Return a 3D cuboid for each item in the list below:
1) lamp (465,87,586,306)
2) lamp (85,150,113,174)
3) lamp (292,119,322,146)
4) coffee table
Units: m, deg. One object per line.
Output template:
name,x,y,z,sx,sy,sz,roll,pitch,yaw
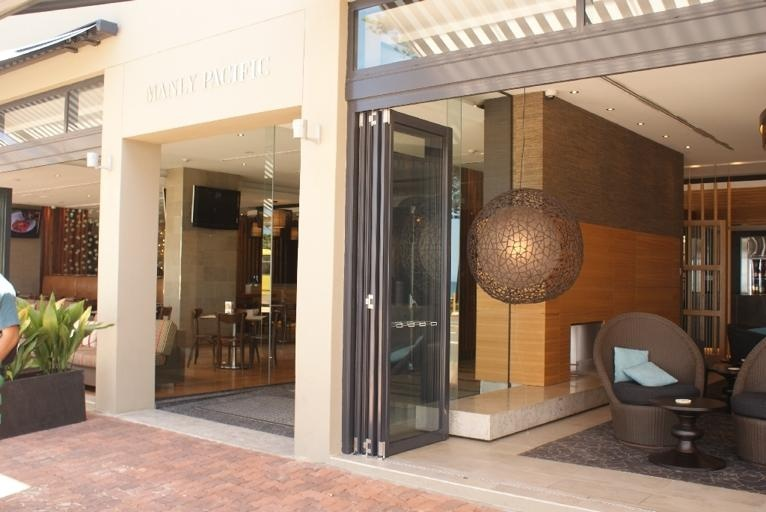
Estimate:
lamp,1.372,-0.355,5.466,1.088,1.382,1.114,-4,-3,9
lamp,-3.587,-1.204,6.934,0.257,0.332,0.578,3,-5,-35
lamp,-0.735,-1.187,5.200,0.269,0.226,0.143,3,-5,-34
coffee table,2.977,1.703,5.390,0.652,0.607,0.649,-1,-4,28
